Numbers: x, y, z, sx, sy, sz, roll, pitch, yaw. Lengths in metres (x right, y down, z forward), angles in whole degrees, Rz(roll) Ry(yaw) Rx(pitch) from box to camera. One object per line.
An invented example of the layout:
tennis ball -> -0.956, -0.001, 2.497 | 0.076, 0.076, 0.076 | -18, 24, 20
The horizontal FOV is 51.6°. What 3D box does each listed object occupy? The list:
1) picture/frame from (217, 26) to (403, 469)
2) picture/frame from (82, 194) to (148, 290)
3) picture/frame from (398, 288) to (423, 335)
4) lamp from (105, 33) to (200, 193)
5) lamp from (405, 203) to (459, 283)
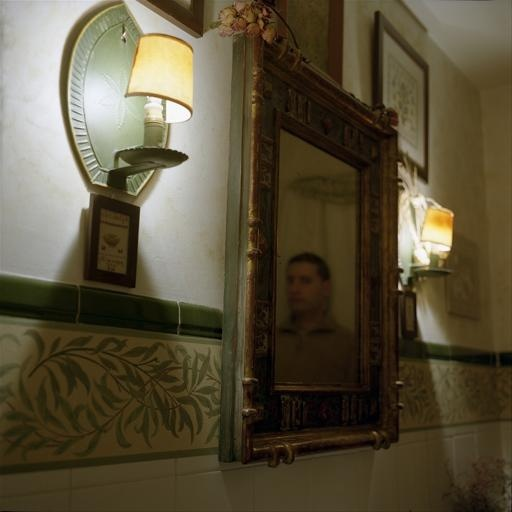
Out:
picture/frame -> 0.209, 0.005, 1.622 | 0.137, 1.177, 0.828 | -5, -10, 41
picture/frame -> -0.303, -0.028, 1.108 | 0.020, 0.238, 0.137 | -11, -19, 40
picture/frame -> 0.628, 0.237, 2.174 | 0.014, 0.198, 0.097 | 0, -2, -22
lamp -> -0.248, -0.323, 1.227 | 0.166, 0.329, 0.154 | -7, -12, 34
lamp -> 0.805, -0.054, 2.373 | 0.150, 0.307, 0.166 | 5, 2, 35
